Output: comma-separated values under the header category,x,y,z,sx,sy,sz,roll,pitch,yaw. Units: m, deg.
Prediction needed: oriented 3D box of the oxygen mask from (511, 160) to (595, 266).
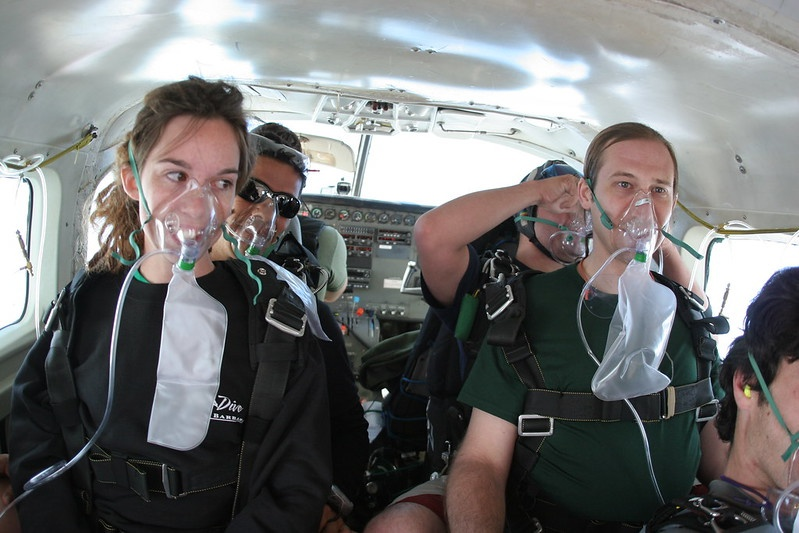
category,x,y,z,sx,sy,sz,roll,pitch,yaw
oxygen mask,0.832,-0.266,3.267,0.455,0.347,0.437,42,29,-3
